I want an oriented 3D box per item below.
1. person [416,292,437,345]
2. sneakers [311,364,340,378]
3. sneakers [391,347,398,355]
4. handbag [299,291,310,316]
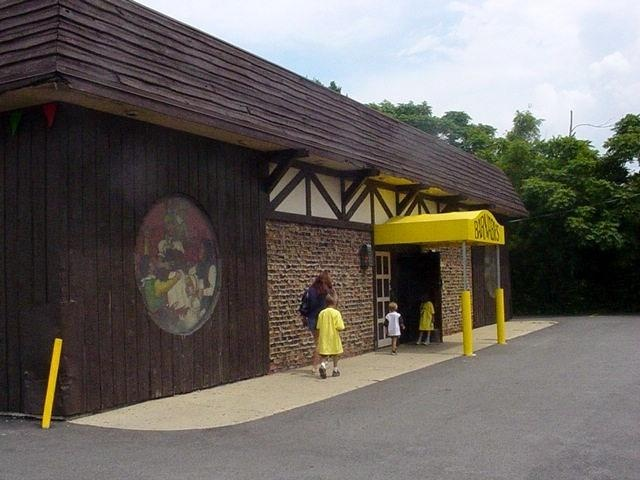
[{"bbox_3d":[2.908,2.193,17.652,0.478,1.341,0.972,-2,-2,10],"label":"person"},{"bbox_3d":[0.082,2.521,12.256,0.227,0.299,0.695,-3,-3,27],"label":"sneakers"},{"bbox_3d":[1.772,2.673,15.305,0.087,0.201,0.271,0,-1,34],"label":"sneakers"},{"bbox_3d":[-0.366,1.268,12.728,0.144,0.433,0.316,8,-1,14],"label":"handbag"}]
